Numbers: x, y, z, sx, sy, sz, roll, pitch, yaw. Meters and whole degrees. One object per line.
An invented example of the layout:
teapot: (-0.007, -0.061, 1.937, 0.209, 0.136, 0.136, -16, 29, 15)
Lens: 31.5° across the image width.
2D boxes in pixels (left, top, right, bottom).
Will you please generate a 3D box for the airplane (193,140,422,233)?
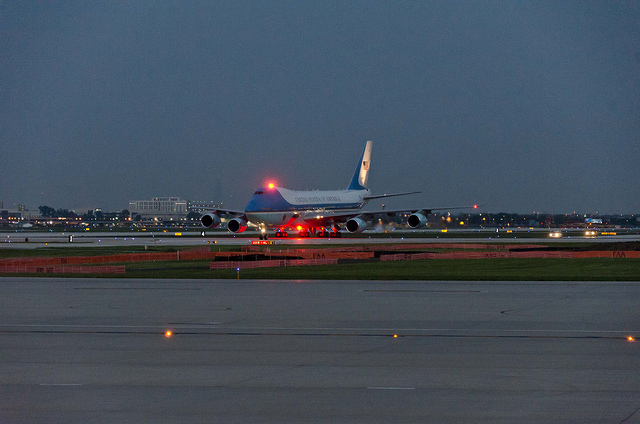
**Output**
airplane: (-0.257, -1.637, 116.456, 3.789, 7.093, 29.818, 5, 13, 22)
